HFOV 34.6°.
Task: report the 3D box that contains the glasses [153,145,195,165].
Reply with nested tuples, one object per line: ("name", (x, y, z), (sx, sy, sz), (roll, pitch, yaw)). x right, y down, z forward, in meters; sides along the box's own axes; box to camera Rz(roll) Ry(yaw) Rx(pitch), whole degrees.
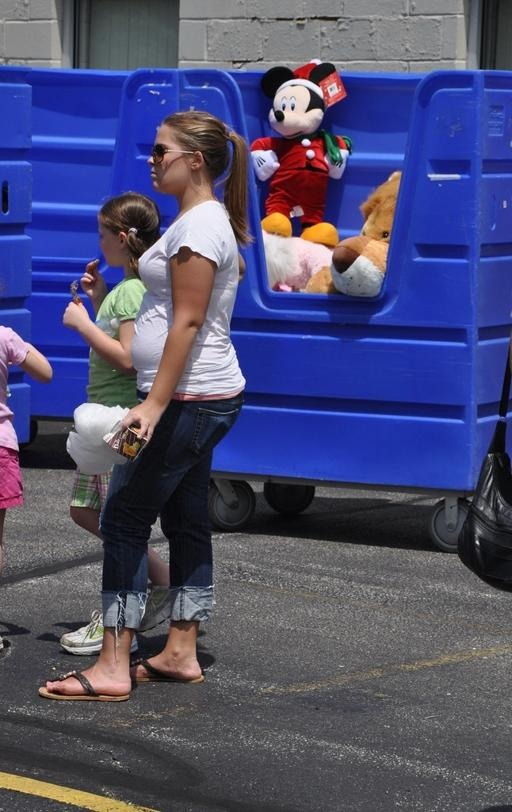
("glasses", (-0.225, -0.672, 2.210), (0.070, 0.025, 0.065), (3, 5, -7))

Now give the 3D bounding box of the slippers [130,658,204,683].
("slippers", (-0.252, 0.765, 2.399), (0.213, 0.051, 0.074), (5, -2, 1))

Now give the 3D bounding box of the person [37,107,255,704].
("person", (-0.266, -0.006, 2.213), (0.438, 1.588, 0.629), (2, 0, 6))

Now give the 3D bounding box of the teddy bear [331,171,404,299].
("teddy bear", (0.569, -0.899, 4.241), (0.299, 0.654, 0.786), (2, 0, 10))

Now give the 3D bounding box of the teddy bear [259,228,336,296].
("teddy bear", (0.236, -0.823, 4.691), (0.390, 0.349, 0.290), (2, 0, 0))

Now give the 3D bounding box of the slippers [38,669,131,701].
("slippers", (-0.452, 0.745, 2.194), (0.235, 0.061, 0.086), (4, -5, -6))
